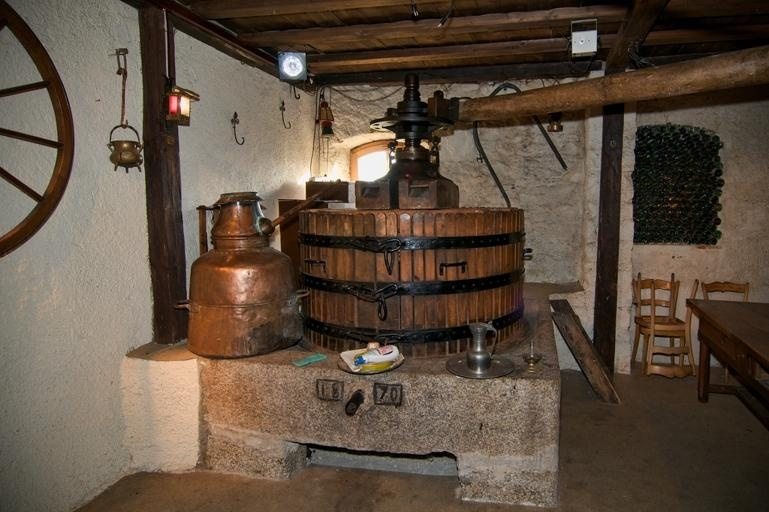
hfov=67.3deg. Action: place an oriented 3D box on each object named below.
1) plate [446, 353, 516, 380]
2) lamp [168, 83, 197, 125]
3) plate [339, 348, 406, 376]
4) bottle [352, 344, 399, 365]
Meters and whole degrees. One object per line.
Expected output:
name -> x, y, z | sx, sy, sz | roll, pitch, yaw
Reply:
plate -> 0.844, 0.952, 4.955 | 0.601, 0.124, 0.370 | 1, 6, 9
lamp -> -1.962, -1.409, 5.432 | 0.297, 0.287, 0.338 | 6, 9, 12
plate -> -0.082, 0.932, 4.962 | 0.329, 0.047, 0.308 | -6, 13, -29
bottle -> -0.052, 0.848, 4.992 | 0.319, 0.081, 0.160 | -7, 10, -15
